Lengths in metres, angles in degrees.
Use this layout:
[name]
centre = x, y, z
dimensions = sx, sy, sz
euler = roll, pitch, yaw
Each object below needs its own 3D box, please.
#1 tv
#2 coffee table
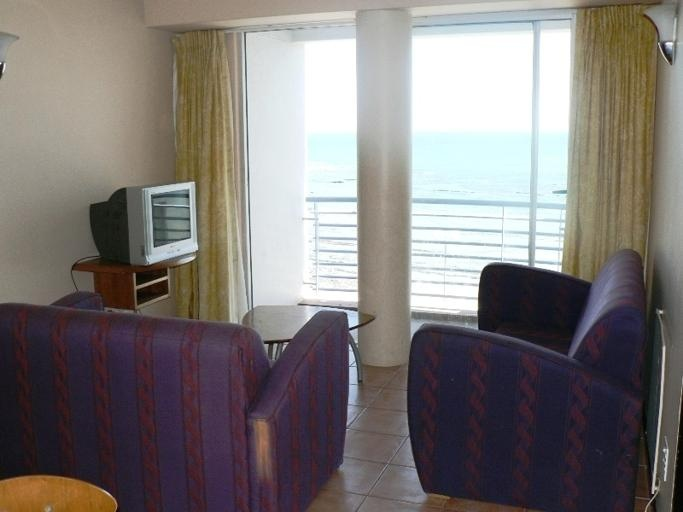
[tv]
centre = -1.563, -0.298, 4.983
dimensions = 0.681, 0.639, 0.697
euler = 5, 13, 21
[coffee table]
centre = -0.115, 0.766, 4.371
dimensions = 1.007, 0.493, 1.032
euler = -4, 2, 34
